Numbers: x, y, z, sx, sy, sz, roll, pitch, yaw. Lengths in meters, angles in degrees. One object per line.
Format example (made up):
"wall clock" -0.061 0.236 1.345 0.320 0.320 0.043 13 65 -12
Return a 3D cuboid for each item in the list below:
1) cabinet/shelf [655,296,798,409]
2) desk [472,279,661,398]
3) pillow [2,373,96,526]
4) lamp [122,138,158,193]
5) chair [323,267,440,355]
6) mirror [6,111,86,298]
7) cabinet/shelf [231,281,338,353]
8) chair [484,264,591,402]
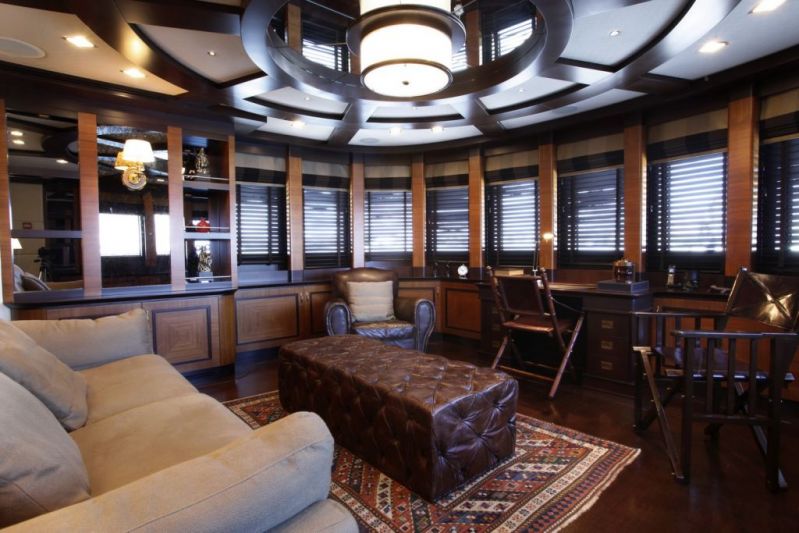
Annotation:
"cabinet/shelf" 3.075 0.716 5.174 1.111 1.406 1.091 -3 -1 17
"desk" 1.936 0.672 6.168 1.812 1.050 1.017 4 11 40
"pillow" -1.949 1.022 2.945 0.183 0.556 0.573 -28 17 5
"lamp" -2.707 -1.039 5.521 0.337 0.496 0.316 3 -3 -7
"chair" -0.296 0.629 6.392 1.288 1.109 0.989 -2 3 -18
"mirror" -3.512 -0.603 5.062 0.205 1.836 0.596 1 6 38
"cabinet/shelf" -1.393 0.621 6.871 1.728 0.782 0.217 -3 2 -43
"chair" 1.386 0.592 6.246 1.352 1.709 1.186 -9 9 -37
